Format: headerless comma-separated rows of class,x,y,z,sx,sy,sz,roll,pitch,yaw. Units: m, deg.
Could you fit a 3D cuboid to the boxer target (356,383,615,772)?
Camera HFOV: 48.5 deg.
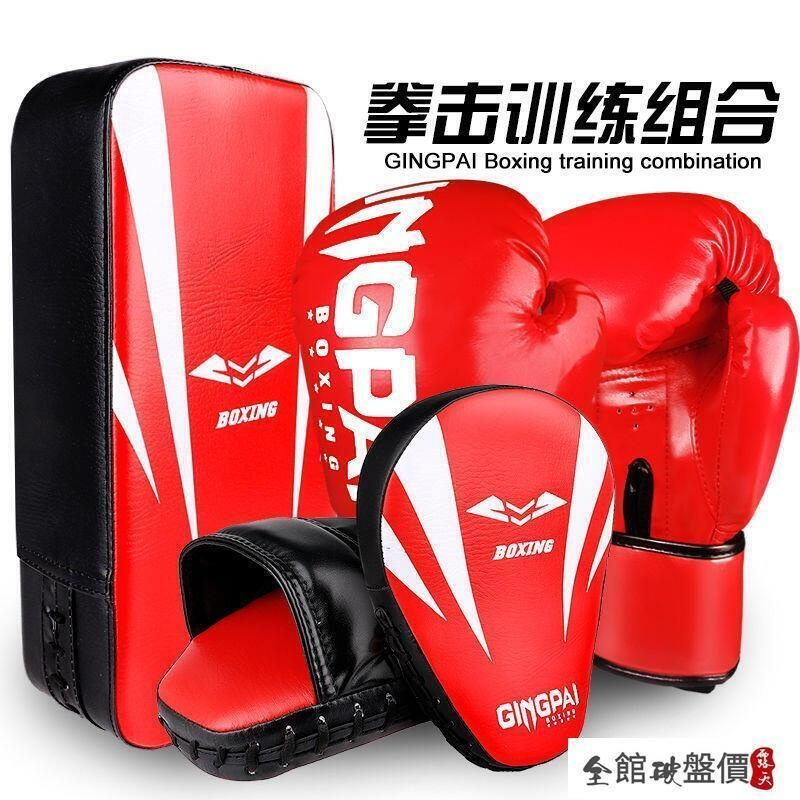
boxer target,0.104,0.239,1.370,0.447,0.548,0.140,-13,7,-24
